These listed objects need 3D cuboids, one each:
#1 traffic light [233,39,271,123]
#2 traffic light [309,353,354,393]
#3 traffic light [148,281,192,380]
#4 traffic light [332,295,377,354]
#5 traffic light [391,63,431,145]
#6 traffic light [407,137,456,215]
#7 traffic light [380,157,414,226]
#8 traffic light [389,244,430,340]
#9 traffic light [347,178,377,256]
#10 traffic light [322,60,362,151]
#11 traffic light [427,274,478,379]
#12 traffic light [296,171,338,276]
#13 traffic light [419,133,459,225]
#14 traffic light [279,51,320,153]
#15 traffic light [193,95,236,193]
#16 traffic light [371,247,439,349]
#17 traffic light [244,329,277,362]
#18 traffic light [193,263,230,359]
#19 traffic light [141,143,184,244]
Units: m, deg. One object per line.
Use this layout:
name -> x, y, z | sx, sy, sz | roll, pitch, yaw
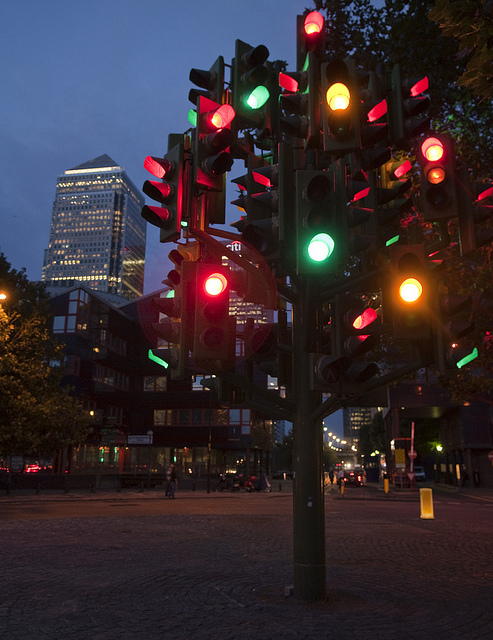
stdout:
traffic light -> 0.033, -2.003, 4.735 | 0.289, 0.692, 0.371 | -1, -15, 1
traffic light -> 0.685, 0.432, 4.753 | 0.315, 0.286, 0.243 | -7, -8, 40
traffic light -> -0.630, 0.112, 4.737 | 0.327, 0.752, 0.712 | 2, -15, -9
traffic light -> 0.899, 0.084, 5.039 | 0.306, 0.564, 0.339 | -9, 7, -36
traffic light -> 1.387, -1.804, 4.868 | 0.333, 0.590, 0.237 | -2, 3, 21
traffic light -> 1.592, -1.196, 4.805 | 0.287, 0.692, 0.218 | -6, -17, 18
traffic light -> 1.497, -1.458, 5.900 | 0.302, 0.159, 0.707 | 2, -20, 13
traffic light -> 1.350, -0.226, 4.686 | 0.316, 0.775, 0.250 | -1, 1, 25
traffic light -> 0.965, -0.920, 4.934 | 0.216, 0.812, 0.671 | -4, -16, 13
traffic light -> 0.700, -1.578, 4.228 | 0.316, 0.799, 0.205 | 1, -16, -7
traffic light -> 1.696, 0.028, 4.768 | 0.345, 0.892, 0.505 | -6, -16, 18
traffic light -> 0.531, -0.758, 4.405 | 0.315, 0.866, 0.176 | 0, -16, -3
traffic light -> 1.594, -1.184, 4.804 | 0.278, 0.718, 0.221 | -5, -16, 16
traffic light -> 0.427, -1.886, 4.733 | 0.327, 1.011, 0.524 | -2, -16, 6
traffic light -> -0.251, -1.393, 4.584 | 0.334, 0.793, 0.379 | 1, -16, -5
traffic light -> 1.378, -0.189, 4.932 | 0.465, 0.808, 0.635 | -2, -15, 5
traffic light -> 0.122, 0.245, 5.559 | 0.179, 0.301, 0.348 | -4, -5, 45
traffic light -> -0.267, -0.071, 4.446 | 0.261, 0.776, 0.171 | 0, -16, -2
traffic light -> -0.665, -1.032, 4.682 | 0.371, 0.680, 0.337 | 2, 0, -18
